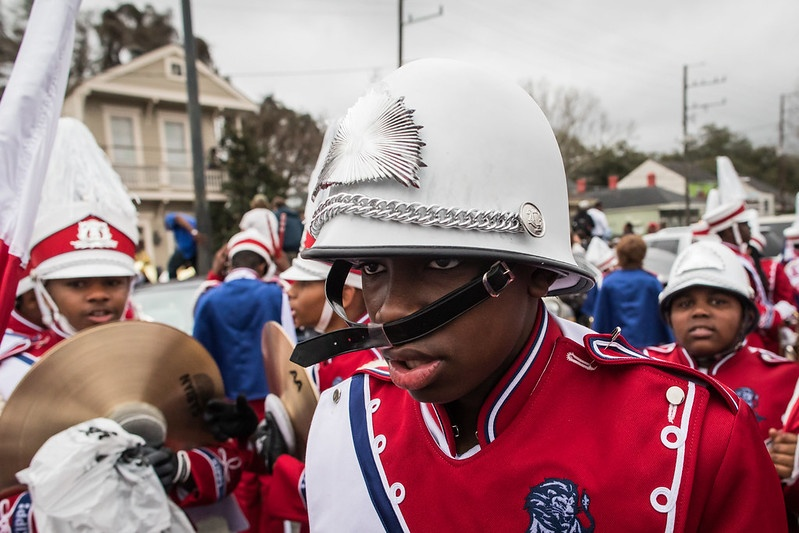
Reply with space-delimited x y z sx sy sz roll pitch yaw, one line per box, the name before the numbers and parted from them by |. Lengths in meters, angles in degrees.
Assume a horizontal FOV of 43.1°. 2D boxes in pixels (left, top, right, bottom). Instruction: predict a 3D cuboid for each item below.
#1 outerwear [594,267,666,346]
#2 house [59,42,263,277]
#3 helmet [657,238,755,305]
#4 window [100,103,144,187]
outerwear | 1.957 0.342 8.582 0.698 0.651 0.318 -1 -2 40
house | -1.389 -0.763 6.228 1.021 1.182 0.922 -6 20 15
helmet | 1.867 0.020 6.310 0.550 0.372 0.689 -5 -10 20
window | -1.627 -0.695 5.981 0.220 0.545 0.062 1 -29 -22
